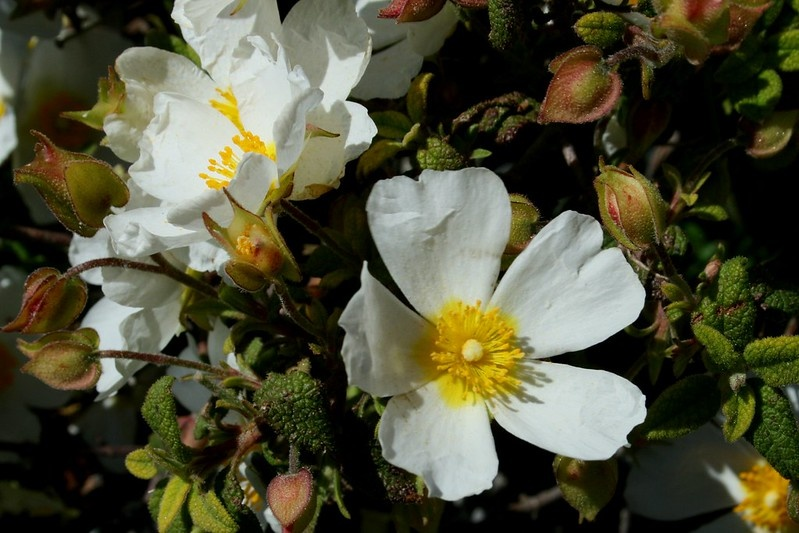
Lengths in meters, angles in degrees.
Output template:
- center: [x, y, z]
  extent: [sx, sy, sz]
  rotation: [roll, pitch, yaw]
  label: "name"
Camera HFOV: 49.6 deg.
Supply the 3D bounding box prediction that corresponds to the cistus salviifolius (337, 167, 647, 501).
- center: [0.137, 0.093, 1.245]
  extent: [0.431, 0.150, 0.460]
  rotation: [-4, 79, 4]
  label: "cistus salviifolius"
